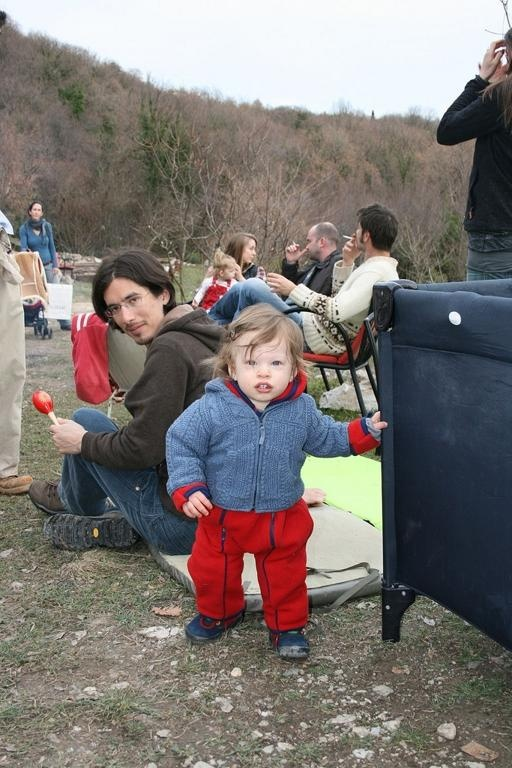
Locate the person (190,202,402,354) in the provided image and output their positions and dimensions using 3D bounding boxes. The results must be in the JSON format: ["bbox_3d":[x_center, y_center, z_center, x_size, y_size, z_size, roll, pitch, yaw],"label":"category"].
[{"bbox_3d":[0.217,-0.707,4.630,1.454,0.986,0.841,6,11,22],"label":"person"}]

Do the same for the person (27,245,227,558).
[{"bbox_3d":[-0.457,0.085,2.339,0.820,0.998,0.557,6,9,10],"label":"person"}]

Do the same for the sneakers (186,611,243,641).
[{"bbox_3d":[-0.116,0.675,1.955,0.160,0.067,0.058,-18,39,-42],"label":"sneakers"}]

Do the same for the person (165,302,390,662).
[{"bbox_3d":[0.043,0.256,1.812,0.544,0.910,0.267,-3,11,-8],"label":"person"}]

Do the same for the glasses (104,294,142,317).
[{"bbox_3d":[-0.429,-0.249,2.189,0.130,0.066,0.050,7,14,38],"label":"glasses"}]

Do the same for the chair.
[{"bbox_3d":[0.525,-0.161,4.299,0.514,0.691,0.420,-1,8,20],"label":"chair"}]
